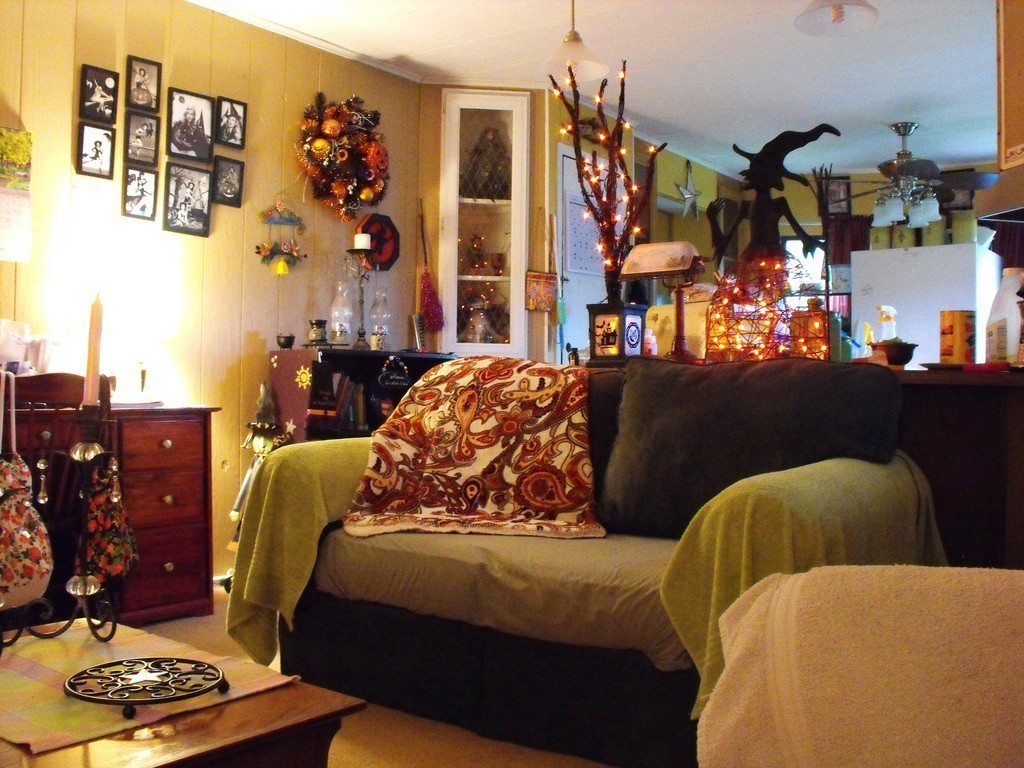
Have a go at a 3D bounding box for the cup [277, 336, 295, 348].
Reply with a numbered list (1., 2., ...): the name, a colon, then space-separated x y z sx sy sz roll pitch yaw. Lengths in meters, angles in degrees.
1. cup: -1.117 -0.203 4.286 0.064 0.054 0.067 0 0 0

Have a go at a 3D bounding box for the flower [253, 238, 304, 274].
1. flower: -1.186 -0.650 4.439 0.063 0.187 0.256 0 4 40

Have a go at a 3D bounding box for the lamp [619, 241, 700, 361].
1. lamp: 0.587 -0.316 3.328 0.287 0.435 0.394 0 4 39

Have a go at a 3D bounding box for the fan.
1. fan: 3.175 -1.713 7.041 1.345 0.895 1.432 0 3 13

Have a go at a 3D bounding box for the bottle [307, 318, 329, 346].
1. bottle: -0.991 -0.261 4.419 0.090 0.137 0.284 -4 3 -14

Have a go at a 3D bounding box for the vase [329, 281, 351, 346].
1. vase: -0.924 -0.380 4.692 0.132 0.334 0.239 -3 3 -10

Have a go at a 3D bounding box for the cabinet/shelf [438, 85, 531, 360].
1. cabinet/shelf: -0.168 -0.966 5.219 0.595 1.595 0.225 -3 3 -3

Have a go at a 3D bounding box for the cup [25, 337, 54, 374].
1. cup: -1.842 -0.120 3.427 0.053 0.096 0.204 -3 3 -9

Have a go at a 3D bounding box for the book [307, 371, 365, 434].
1. book: -0.813 0.093 4.163 0.207 0.307 0.099 1 0 35

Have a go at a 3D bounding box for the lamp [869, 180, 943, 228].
1. lamp: 3.408 -1.560 7.610 0.425 0.323 0.428 2 -3 -38

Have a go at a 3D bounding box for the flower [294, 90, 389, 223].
1. flower: -0.899 -1.221 4.690 0.208 0.628 0.525 0 4 42

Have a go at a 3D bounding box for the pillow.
1. pillow: 0.608 0.143 2.437 0.570 0.652 0.238 -12 -40 24
